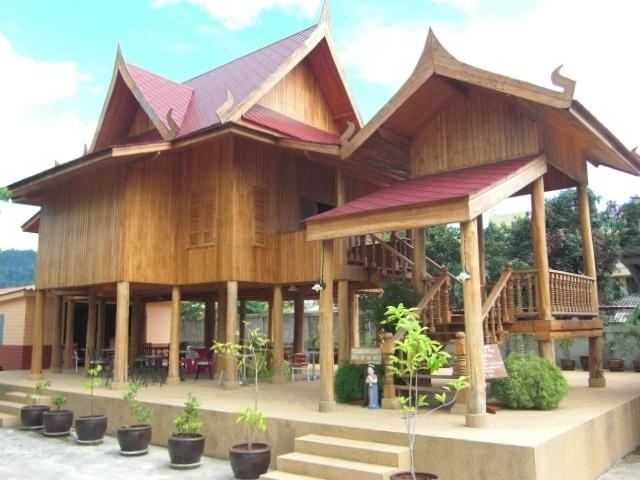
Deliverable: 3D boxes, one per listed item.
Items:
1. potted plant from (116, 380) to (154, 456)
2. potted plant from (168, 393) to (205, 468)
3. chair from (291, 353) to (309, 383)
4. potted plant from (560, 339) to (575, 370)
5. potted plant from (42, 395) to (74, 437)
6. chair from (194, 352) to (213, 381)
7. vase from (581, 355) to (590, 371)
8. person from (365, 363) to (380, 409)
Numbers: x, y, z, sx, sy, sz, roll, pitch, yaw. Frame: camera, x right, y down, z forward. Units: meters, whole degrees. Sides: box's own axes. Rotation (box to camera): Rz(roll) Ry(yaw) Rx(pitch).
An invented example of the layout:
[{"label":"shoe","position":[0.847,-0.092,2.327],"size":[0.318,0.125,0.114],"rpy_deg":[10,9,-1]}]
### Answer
[{"label":"potted plant","position":[-3.802,3.669,11.402],"size":[0.654,1.304,1.473],"rpy_deg":[2,-12,-16]},{"label":"potted plant","position":[-2.514,3.559,10.398],"size":[0.664,1.270,0.905],"rpy_deg":[2,-11,-15]},{"label":"chair","position":[-0.676,3.996,17.389],"size":[0.757,1.114,0.796],"rpy_deg":[0,-22,-1]},{"label":"potted plant","position":[8.688,4.034,19.386],"size":[0.492,1.044,1.054],"rpy_deg":[-6,-12,24]},{"label":"potted plant","position":[-6.038,4.026,12.685],"size":[0.571,0.844,1.199],"rpy_deg":[4,-13,-26]},{"label":"chair","position":[-3.829,4.171,18.113],"size":[0.601,1.000,0.717],"rpy_deg":[0,-21,-2]},{"label":"vase","position":[9.104,4.232,19.037],"size":[0.184,0.512,0.683],"rpy_deg":[-5,-12,18]},{"label":"person","position":[1.050,2.965,11.213],"size":[0.274,0.862,0.355],"rpy_deg":[-2,-11,5]}]
